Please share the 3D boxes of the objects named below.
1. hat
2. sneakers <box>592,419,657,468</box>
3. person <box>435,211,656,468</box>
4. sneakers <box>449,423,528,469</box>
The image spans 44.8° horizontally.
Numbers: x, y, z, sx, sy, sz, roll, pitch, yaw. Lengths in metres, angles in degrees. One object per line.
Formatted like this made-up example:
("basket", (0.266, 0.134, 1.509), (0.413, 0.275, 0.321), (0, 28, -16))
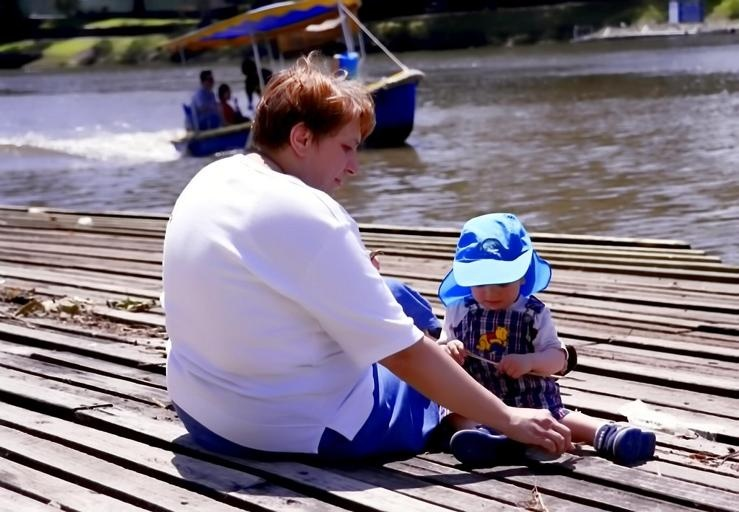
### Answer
("hat", (0.546, -0.055, 3.898), (0.341, 0.134, 0.434), (-13, 23, 8))
("sneakers", (0.984, 0.728, 3.509), (0.224, 0.118, 0.093), (4, 4, 30))
("person", (1.051, 0.306, 3.803), (0.903, 0.967, 1.072), (-3, 0, -29))
("sneakers", (0.408, 0.728, 3.448), (0.341, 0.105, 0.122), (4, 5, -42))
